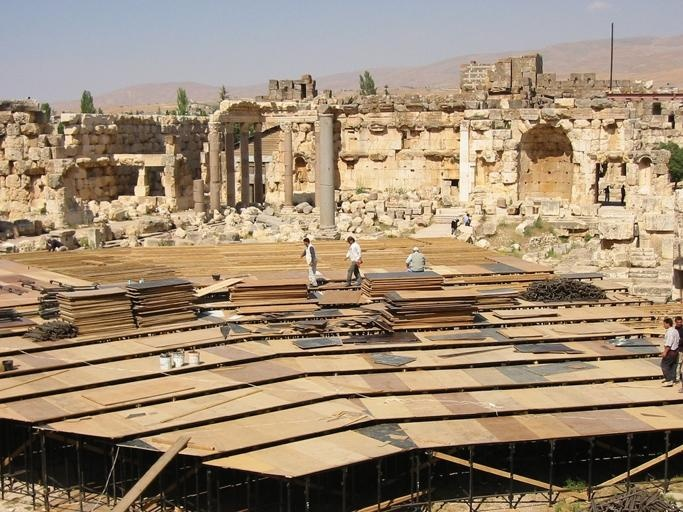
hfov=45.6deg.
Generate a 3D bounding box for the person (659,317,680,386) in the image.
[{"bbox_3d":[6.784,1.989,16.771,0.340,1.298,0.625,-1,6,26],"label":"person"}]

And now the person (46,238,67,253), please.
[{"bbox_3d":[-9.475,-0.401,26.960,0.601,0.395,0.998,-3,4,-17],"label":"person"}]

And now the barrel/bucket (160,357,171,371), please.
[{"bbox_3d":[-3.597,2.177,16.635,0.235,0.280,0.270,-4,5,-11],"label":"barrel/bucket"}]

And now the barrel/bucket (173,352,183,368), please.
[{"bbox_3d":[-3.352,2.131,16.757,0.196,0.307,0.221,-4,5,-15],"label":"barrel/bucket"}]

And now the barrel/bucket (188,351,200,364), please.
[{"bbox_3d":[-3.096,2.125,16.965,0.319,0.202,0.253,-1,6,-18],"label":"barrel/bucket"}]
